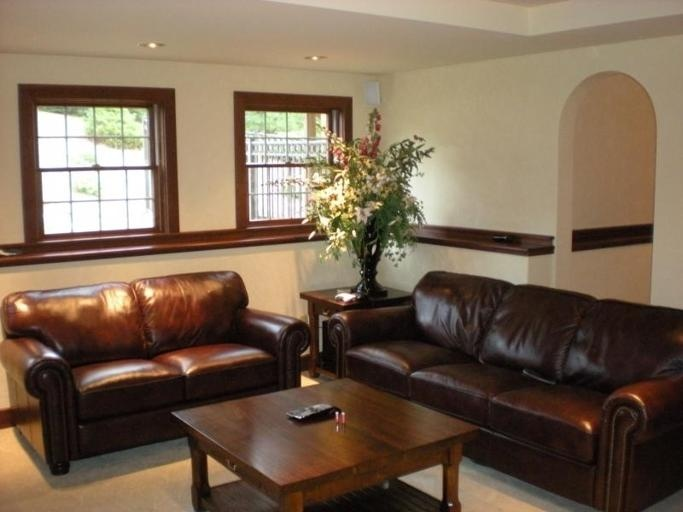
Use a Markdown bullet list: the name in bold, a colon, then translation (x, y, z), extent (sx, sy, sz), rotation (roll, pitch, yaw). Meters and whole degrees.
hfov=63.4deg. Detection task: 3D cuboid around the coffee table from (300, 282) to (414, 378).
- **coffee table**: translation (0.125, 0.567, 5.469), extent (0.993, 0.967, 0.877), rotation (-4, 5, -38)
